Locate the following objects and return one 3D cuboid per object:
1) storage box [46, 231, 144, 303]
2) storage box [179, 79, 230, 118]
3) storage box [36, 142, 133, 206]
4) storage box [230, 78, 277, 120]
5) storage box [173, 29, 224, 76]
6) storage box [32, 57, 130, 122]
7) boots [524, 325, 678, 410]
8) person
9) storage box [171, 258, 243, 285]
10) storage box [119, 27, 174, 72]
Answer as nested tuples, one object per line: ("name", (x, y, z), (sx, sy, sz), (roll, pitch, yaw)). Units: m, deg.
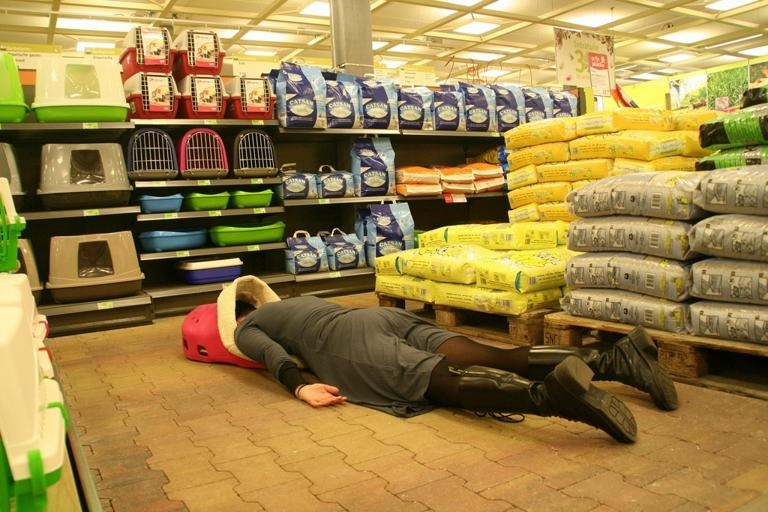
("storage box", (-2.935, 0.100, 5.160), (1.168, 0.526, 0.877), (-1, -3, -39))
("storage box", (-1.953, -1.687, 5.485), (0.520, 0.471, 0.260), (-9, 14, -9))
("storage box", (-2.881, -0.757, 4.887), (0.787, 0.613, 0.279), (-10, 15, -17))
("storage box", (-1.460, -1.712, 5.615), (0.505, 0.467, 0.257), (-9, 14, -8))
("storage box", (-1.968, -2.160, 5.596), (0.576, 0.341, 0.664), (-1, -1, -34))
("storage box", (-2.901, -1.534, 5.113), (1.235, 0.522, 0.778), (-4, 7, -19))
("boots", (1.132, 0.583, 2.812), (0.945, 0.280, 0.462), (0, 5, 26))
("person", (0.008, 0.567, 3.043), (2.762, 0.363, 1.138), (4, 14, 38))
("storage box", (-1.905, 0.161, 5.515), (0.549, 0.130, 0.365), (-3, 2, -29))
("storage box", (-2.650, -2.100, 5.487), (0.531, 0.334, 0.663), (-1, 0, -32))
